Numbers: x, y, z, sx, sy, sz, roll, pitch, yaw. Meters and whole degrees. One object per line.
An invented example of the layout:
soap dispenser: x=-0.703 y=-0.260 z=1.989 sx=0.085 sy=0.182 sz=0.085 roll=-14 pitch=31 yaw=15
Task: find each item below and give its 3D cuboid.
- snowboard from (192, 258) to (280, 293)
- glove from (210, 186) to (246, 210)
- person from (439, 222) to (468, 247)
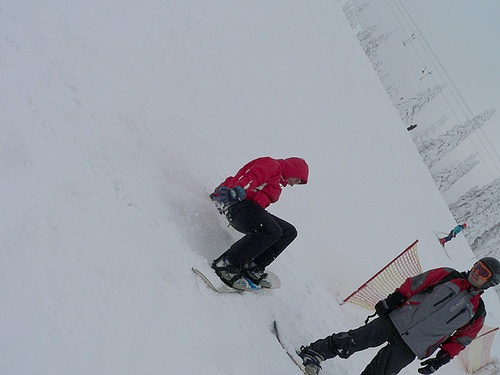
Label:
snowboard: x=-0.411 y=1.442 z=18.106 sx=1.488 sy=0.213 sz=0.514 roll=13 pitch=39 yaw=-39
glove: x=-0.380 y=0.115 z=18.160 sx=0.599 sy=0.388 sz=0.480 roll=2 pitch=5 yaw=-12
person: x=5.112 y=1.134 z=24.945 sx=0.223 sy=0.935 sz=0.382 roll=43 pitch=-25 yaw=27
